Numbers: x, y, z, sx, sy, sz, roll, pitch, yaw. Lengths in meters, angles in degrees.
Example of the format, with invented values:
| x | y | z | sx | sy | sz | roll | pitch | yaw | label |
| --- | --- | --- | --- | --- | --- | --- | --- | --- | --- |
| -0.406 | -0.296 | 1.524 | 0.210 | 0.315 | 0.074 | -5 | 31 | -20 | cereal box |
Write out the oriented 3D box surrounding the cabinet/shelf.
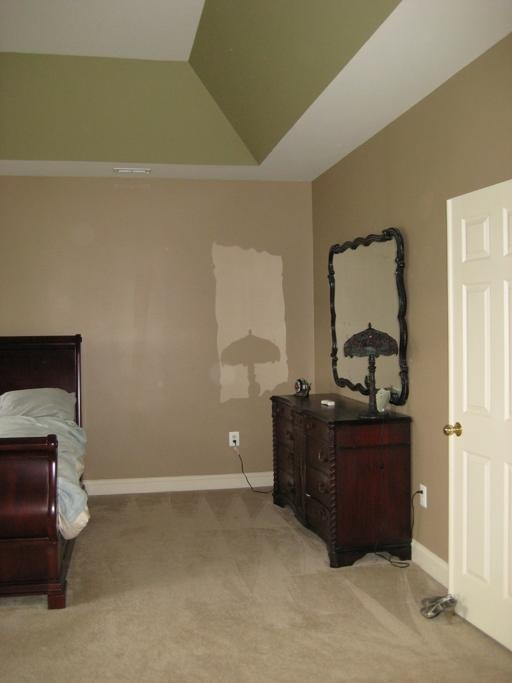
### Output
| x | y | z | sx | sy | sz | roll | pitch | yaw | label |
| --- | --- | --- | --- | --- | --- | --- | --- | --- | --- |
| 0.457 | 0.801 | 3.575 | 0.390 | 0.911 | 1.105 | -5 | 5 | -17 | cabinet/shelf |

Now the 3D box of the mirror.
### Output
| x | y | z | sx | sy | sz | roll | pitch | yaw | label |
| --- | --- | --- | --- | --- | --- | --- | --- | --- | --- |
| 0.706 | -0.155 | 3.556 | 0.137 | 1.192 | 0.999 | 0 | -2 | -14 | mirror |
